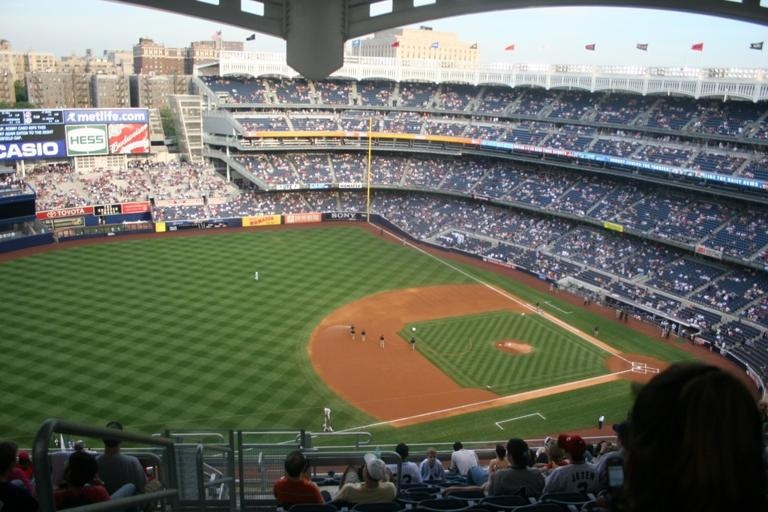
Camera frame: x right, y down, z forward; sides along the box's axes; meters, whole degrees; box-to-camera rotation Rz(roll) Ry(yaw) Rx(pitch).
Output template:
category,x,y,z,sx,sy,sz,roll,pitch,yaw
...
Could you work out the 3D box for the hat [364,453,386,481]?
category,x,y,z,sx,sy,sz,roll,pitch,yaw
hat,-0.106,2.443,7.479,0.278,0.135,0.298,0,35,-15
